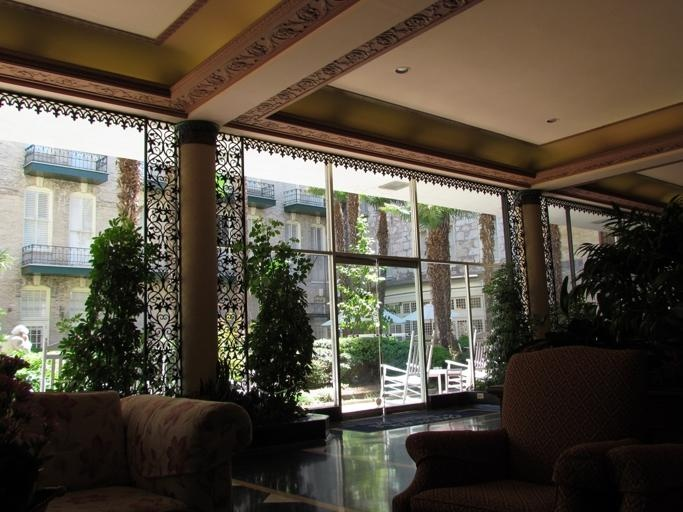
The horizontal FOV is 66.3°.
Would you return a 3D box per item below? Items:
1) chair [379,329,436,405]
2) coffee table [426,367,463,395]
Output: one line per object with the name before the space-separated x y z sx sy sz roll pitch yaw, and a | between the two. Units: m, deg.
chair | 1.098 2.016 9.117 0.926 1.250 0.863 2 1 18
coffee table | 1.842 2.256 9.702 0.638 0.580 0.486 7 -15 -30
